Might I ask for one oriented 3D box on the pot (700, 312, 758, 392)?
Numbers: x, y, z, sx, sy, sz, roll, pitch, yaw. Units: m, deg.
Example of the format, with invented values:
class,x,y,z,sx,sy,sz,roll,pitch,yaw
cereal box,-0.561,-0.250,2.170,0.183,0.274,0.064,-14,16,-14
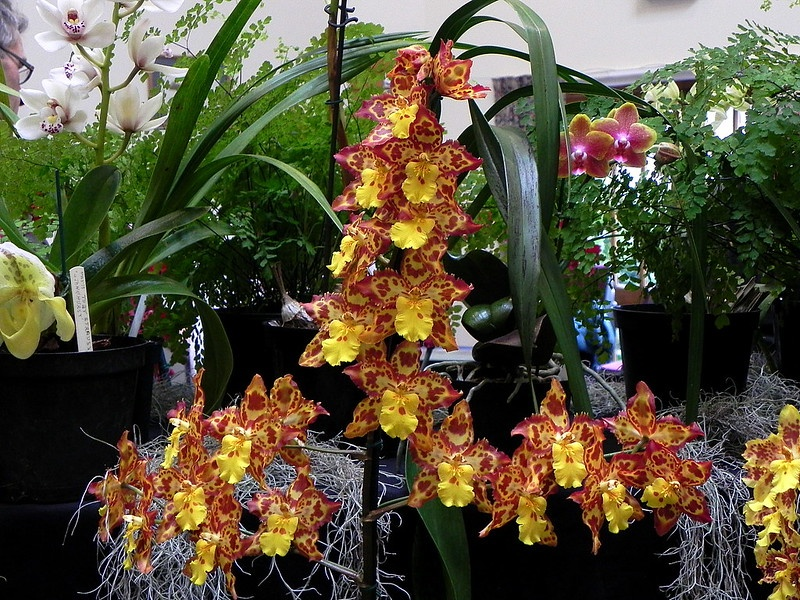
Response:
class,x,y,z,sx,sy,sz,roll,pitch,yaw
pot,0.527,0.077,1.243,0.106,0.128,0.122,-2,3,-15
